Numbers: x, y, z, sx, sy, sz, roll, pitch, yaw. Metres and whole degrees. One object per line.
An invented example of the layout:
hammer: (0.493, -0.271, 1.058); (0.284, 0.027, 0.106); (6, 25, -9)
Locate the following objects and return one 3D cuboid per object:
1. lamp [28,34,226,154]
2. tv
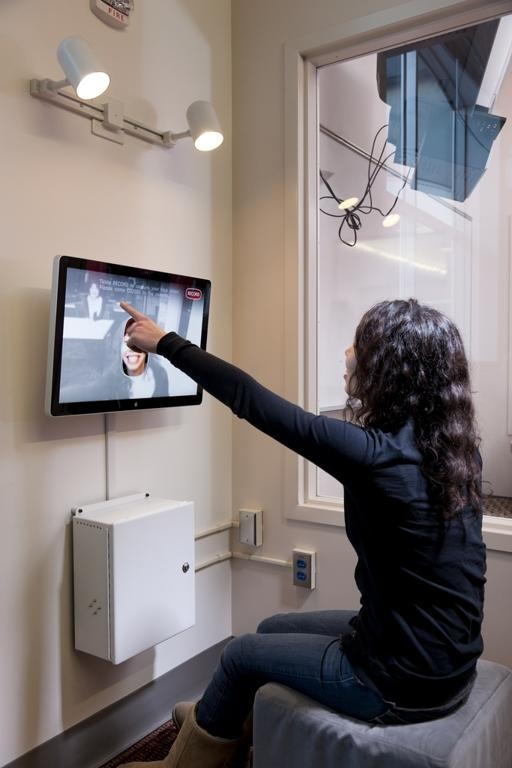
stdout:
lamp: (-0.334, -0.801, 1.781); (0.292, 0.194, 0.600); (-3, -3, 32)
tv: (-0.365, -0.130, 1.705); (0.050, 0.391, 0.517); (6, 5, 36)
